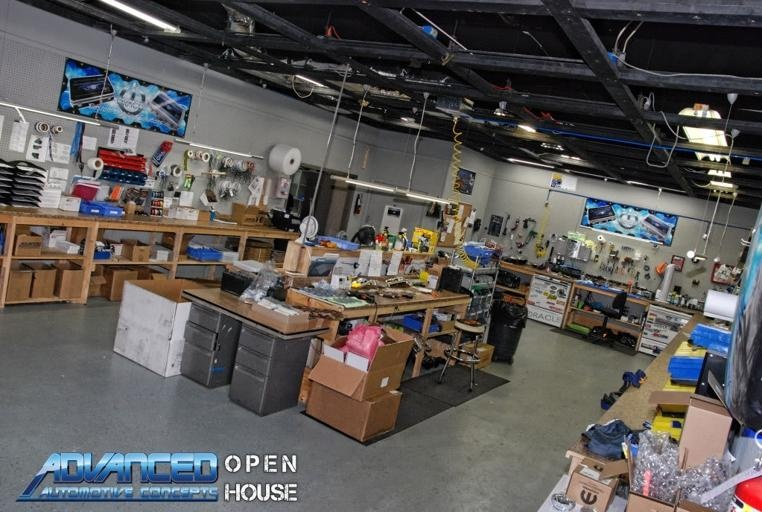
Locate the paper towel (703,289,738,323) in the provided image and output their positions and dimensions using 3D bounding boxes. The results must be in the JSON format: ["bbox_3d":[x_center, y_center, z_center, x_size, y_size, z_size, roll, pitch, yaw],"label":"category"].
[{"bbox_3d":[2.552,0.375,3.536,0.248,0.217,0.139,14,-7,-1],"label":"paper towel"}]

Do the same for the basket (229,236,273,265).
[{"bbox_3d":[-2.703,-0.135,9.722,0.730,0.451,0.742,2,1,-28],"label":"basket"}]

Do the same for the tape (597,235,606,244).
[{"bbox_3d":[5.871,-0.452,12.280,0.074,0.107,0.313,31,2,15],"label":"tape"}]

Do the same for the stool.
[{"bbox_3d":[1.313,1.559,7.411,0.759,0.969,0.692,12,0,27],"label":"stool"}]

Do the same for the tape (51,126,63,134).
[{"bbox_3d":[-4.867,-1.888,6.943,0.049,0.150,0.170,13,8,28],"label":"tape"}]

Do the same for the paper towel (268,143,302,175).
[{"bbox_3d":[-2.097,-2.086,9.903,0.320,0.576,0.615,8,27,41],"label":"paper towel"}]

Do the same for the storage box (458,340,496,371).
[{"bbox_3d":[1.695,1.693,8.033,0.452,0.272,0.455,14,16,35],"label":"storage box"}]

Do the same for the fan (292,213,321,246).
[{"bbox_3d":[-0.988,-0.372,6.250,0.261,0.394,0.549,8,7,-10],"label":"fan"}]

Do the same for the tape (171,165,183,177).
[{"bbox_3d":[-3.682,-1.534,8.367,0.073,0.205,0.224,14,8,31],"label":"tape"}]

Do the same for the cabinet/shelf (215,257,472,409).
[{"bbox_3d":[-0.509,1.028,5.956,2.088,0.856,1.462,1,3,-44],"label":"cabinet/shelf"}]

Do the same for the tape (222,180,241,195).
[{"bbox_3d":[-2.981,-1.369,9.235,0.241,0.110,0.259,17,-5,-26],"label":"tape"}]
